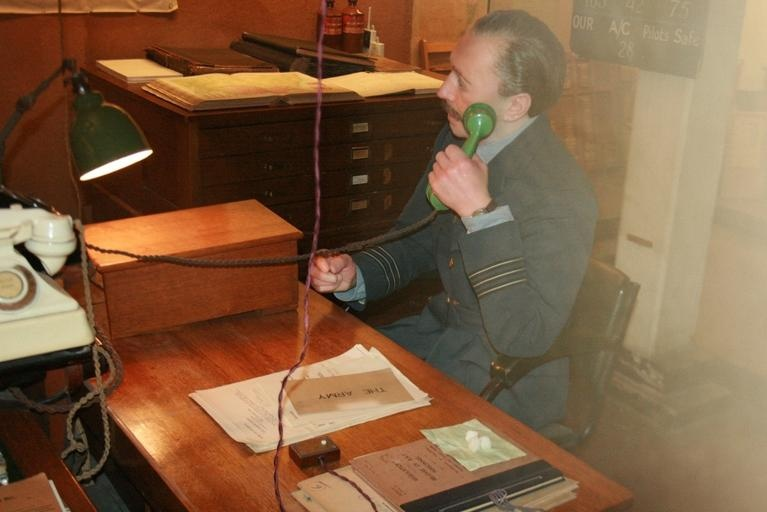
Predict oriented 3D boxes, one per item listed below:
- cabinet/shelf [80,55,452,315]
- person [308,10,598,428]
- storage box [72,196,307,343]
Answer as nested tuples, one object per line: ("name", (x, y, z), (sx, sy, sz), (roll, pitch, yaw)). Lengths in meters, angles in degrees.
("cabinet/shelf", (-0.579, -0.530, 3.389), (1.758, 1.588, 1.187), (-18, 34, -34))
("person", (0.231, 0.167, 2.003), (0.654, 1.729, 0.788), (-25, 37, -35))
("storage box", (-0.520, 0.040, 1.583), (0.570, 0.231, 0.333), (-11, 27, -24))
